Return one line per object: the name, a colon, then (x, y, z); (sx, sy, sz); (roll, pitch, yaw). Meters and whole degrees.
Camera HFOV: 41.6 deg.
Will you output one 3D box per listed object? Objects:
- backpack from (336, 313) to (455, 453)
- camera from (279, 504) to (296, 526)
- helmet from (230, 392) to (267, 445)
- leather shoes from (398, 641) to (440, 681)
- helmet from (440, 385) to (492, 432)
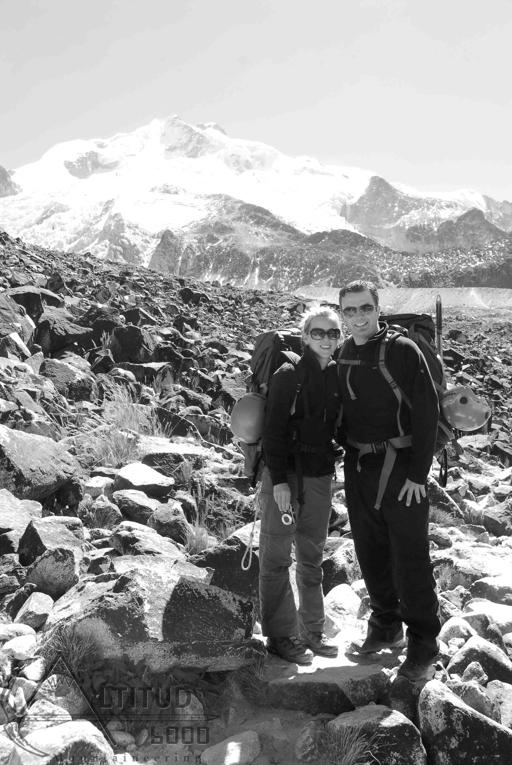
backpack: (0.765, 0.021, 3.774); (0.640, 0.935, 0.481); (-7, -9, -5)
camera: (0.184, 0.757, 3.825); (0.112, 0.189, 0.104); (-1, -8, 5)
helmet: (-0.042, 0.208, 4.049); (0.217, 0.269, 0.243); (15, 21, 17)
leather shoes: (0.877, 1.481, 3.580); (0.202, 0.194, 0.174); (10, 11, 8)
helmet: (1.201, 0.160, 3.808); (0.219, 0.213, 0.281); (5, -30, 7)
